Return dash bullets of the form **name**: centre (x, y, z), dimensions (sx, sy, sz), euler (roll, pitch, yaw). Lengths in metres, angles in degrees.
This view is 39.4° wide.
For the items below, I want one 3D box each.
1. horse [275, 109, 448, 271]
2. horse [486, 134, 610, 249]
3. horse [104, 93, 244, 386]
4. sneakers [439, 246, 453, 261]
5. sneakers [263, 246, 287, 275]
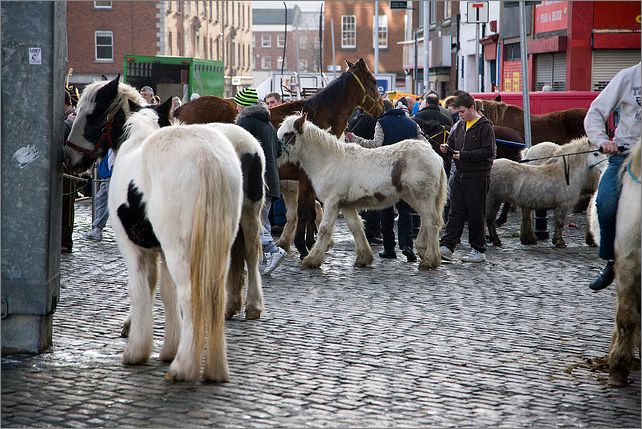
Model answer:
- **horse**: centre (0.608, -0.345, 14.702), dimensions (2.480, 2.235, 0.847), euler (1, 8, 8)
- **horse**: centre (3.917, -0.354, 16.268), dimensions (2.558, 1.886, 0.790), euler (-3, 1, 1)
- **horse**: centre (-1.610, 0.367, 9.779), dimensions (0.920, 2.855, 3.046), euler (-1, 4, -25)
- **sneakers**: centre (2.058, 0.661, 14.783), dimensions (0.317, 0.143, 0.107), euler (19, -3, -35)
- **sneakers**: centre (-0.783, 0.687, 13.626), dimensions (0.168, 0.237, 0.529), euler (-15, 32, 55)
